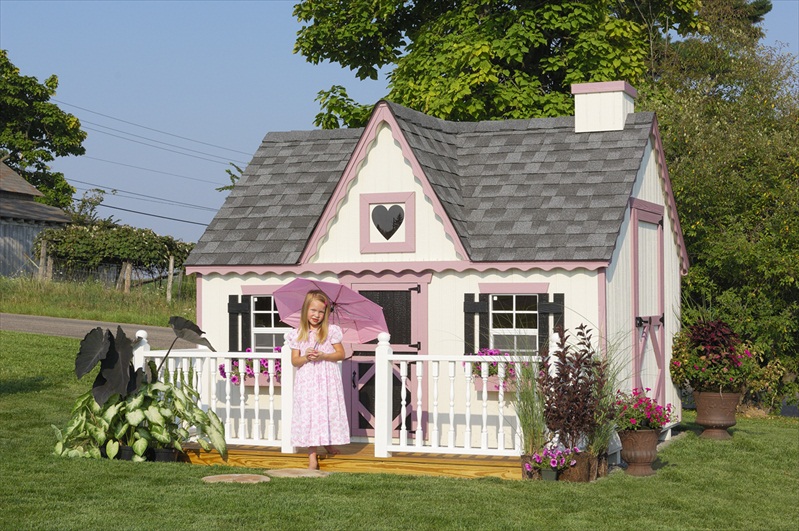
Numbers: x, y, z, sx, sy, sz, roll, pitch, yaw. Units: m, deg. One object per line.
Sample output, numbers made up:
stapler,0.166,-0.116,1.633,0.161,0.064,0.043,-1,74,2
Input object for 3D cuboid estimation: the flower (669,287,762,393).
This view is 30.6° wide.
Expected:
flower,8.226,2.348,38.287,2.241,1.955,0.939,4,-10,-12

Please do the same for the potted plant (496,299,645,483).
potted plant,3.766,3.263,33.400,2.371,3.321,0.914,1,-10,4

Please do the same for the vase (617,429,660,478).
vase,5.606,4.383,34.230,1.106,1.093,1.146,3,-7,-23
